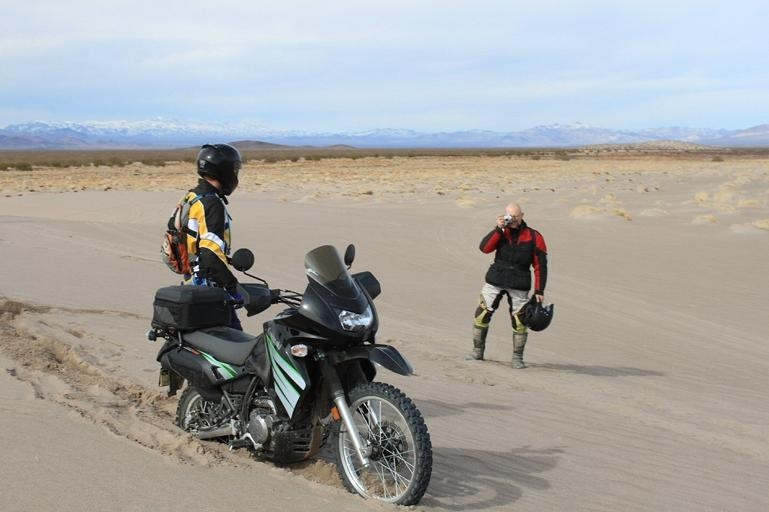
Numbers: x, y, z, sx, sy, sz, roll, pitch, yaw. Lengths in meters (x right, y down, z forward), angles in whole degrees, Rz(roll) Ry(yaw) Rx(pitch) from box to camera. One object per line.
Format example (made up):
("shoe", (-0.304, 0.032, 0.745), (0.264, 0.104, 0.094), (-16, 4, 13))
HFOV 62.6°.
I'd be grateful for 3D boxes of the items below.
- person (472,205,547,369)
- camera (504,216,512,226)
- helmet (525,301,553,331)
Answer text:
("person", (2.050, 0.493, 10.547), (1.156, 2.712, 0.912), (3, 14, 19))
("camera", (1.996, -0.582, 10.298), (0.109, 0.171, 0.125), (-11, 15, -37))
("helmet", (2.469, 0.997, 10.382), (0.492, 0.478, 0.191), (-4, -32, -23))
